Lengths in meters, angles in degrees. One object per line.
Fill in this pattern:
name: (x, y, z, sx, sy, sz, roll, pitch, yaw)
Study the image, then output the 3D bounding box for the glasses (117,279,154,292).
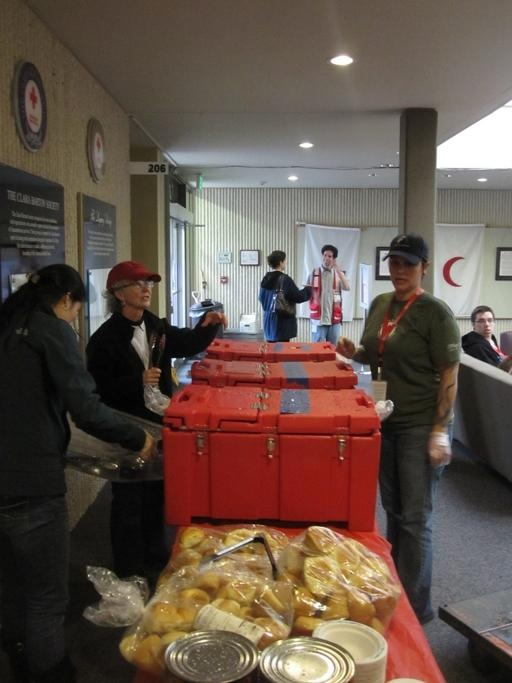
glasses: (-0.586, -0.279, 2.447, 0.122, 0.037, 0.078, -10, 3, 10)

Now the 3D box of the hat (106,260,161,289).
hat: (-0.597, -0.331, 2.483, 0.217, 0.113, 0.146, -11, 8, 8)

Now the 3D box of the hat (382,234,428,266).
hat: (0.701, -0.423, 2.322, 0.124, 0.106, 0.181, 9, 8, 37)

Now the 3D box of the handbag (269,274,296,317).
handbag: (0.399, -0.683, 6.778, 0.370, 0.841, 0.800, -2, 9, 5)

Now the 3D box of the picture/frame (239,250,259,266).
picture/frame: (-0.124, -1.827, 10.822, 0.323, 0.280, 0.042, 0, 3, -1)

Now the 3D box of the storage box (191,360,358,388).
storage box: (0.066, 0.143, 2.188, 0.393, 0.097, 0.289, 1, 5, 5)

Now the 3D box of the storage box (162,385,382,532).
storage box: (0.052, 0.361, 1.698, 0.644, 0.359, 0.485, 1, 7, 5)
